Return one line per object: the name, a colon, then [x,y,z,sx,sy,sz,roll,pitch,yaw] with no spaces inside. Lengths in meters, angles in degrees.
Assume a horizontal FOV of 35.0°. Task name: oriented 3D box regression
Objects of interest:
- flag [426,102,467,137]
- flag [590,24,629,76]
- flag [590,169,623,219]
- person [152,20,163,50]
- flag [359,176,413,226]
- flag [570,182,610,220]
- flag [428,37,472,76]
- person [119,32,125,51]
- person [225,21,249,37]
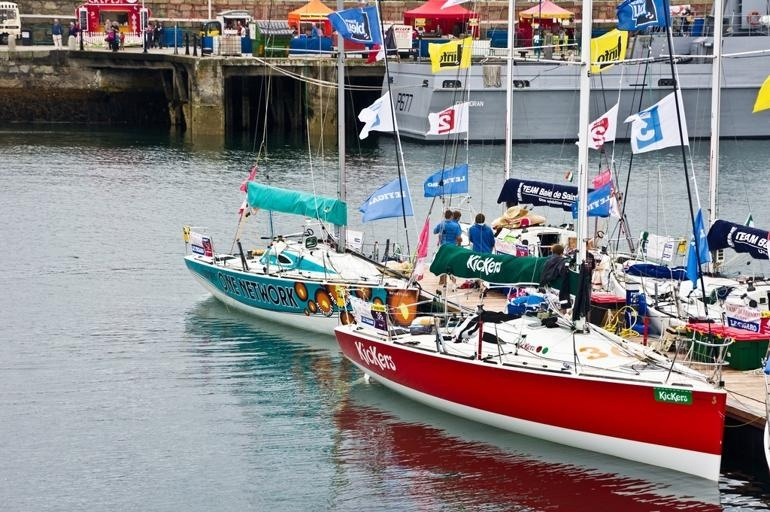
flag: [1.857,-4.060,35.956,1.469,1.059,0.047,2,-2,33]
flag: [6.708,-6.063,35.314,1.640,1.039,0.203,-18,29,-37]
flag: [5.915,-1.710,32.004,0.878,0.203,2.080,-4,52,12]
person: [-12.408,-11.591,63.923,0.548,1.309,1.307,-1,11,-8]
flag: [-0.021,-1.517,34.725,2.082,1.560,0.357,-4,5,-3]
flag: [5.482,-1.379,31.095,1.274,1.188,0.156,-4,-22,41]
flag: [2.043,-6.253,38.130,1.624,1.117,0.125,-3,13,-21]
person: [-14.112,-11.032,62.671,0.301,0.716,0.970,-2,11,-12]
person: [-7.521,-11.071,59.343,0.786,0.615,1.361,0,3,-8]
